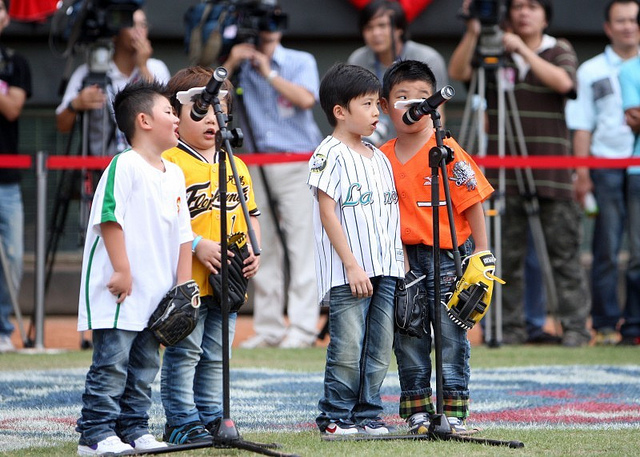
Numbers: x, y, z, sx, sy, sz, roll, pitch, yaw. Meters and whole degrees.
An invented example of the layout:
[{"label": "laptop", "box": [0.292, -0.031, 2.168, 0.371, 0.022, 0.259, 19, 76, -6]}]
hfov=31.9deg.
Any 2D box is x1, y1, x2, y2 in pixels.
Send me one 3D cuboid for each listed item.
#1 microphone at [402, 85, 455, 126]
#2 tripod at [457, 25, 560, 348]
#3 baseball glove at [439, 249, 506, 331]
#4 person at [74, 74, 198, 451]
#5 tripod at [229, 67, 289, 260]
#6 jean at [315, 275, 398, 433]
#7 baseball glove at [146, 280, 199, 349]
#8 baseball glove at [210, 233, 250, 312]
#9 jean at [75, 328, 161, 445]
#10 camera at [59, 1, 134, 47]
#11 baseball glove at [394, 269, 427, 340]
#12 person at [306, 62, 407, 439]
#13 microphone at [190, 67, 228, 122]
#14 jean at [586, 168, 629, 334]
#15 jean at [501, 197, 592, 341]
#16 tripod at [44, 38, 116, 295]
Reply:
[{"label": "microphone", "box": [0.575, -0.651, 6.054, 0.110, 0.111, 0.432, -23, -6, -32]}, {"label": "tripod", "box": [1.299, -0.377, 7.897, 0.793, 2.110, 0.699, -11, -41, 17]}, {"label": "baseball glove", "box": [0.797, 0.314, 6.217, 0.340, 0.446, 0.179, 28, 4, -23]}, {"label": "person", "box": [-0.948, 0.164, 5.902, 0.619, 1.963, 0.343, 2, -8, -11]}, {"label": "tripod", "box": [-0.408, -0.439, 7.833, 0.175, 1.590, 0.188, -23, -20, 3]}, {"label": "jean", "box": [0.206, 0.689, 6.153, 0.447, 0.851, 0.254, 0, -8, -1]}, {"label": "baseball glove", "box": [-0.774, 0.446, 5.867, 0.317, 0.120, 0.230, -11, 27, -27]}, {"label": "baseball glove", "box": [-0.499, 0.230, 6.027, 0.195, 0.426, 0.395, -2, -8, 12]}, {"label": "jean", "box": [-1.042, 0.817, 5.829, 0.415, 0.596, 0.198, 3, -8, -21]}, {"label": "camera", "box": [-1.637, -1.549, 8.406, 0.497, 0.353, 0.377, -4, -5, 38]}, {"label": "baseball glove", "box": [0.502, 0.409, 6.203, 0.175, 0.368, 0.120, 0, -8, 2]}, {"label": "person", "box": [0.214, 0.094, 6.203, 0.528, 2.064, 0.272, 0, -8, 3]}, {"label": "microphone", "box": [-0.589, -0.684, 5.862, 0.106, 0.098, 0.412, -13, -25, -30]}, {"label": "jean", "box": [1.943, 0.130, 7.534, 0.285, 1.136, 0.267, -2, -8, 15]}, {"label": "jean", "box": [1.620, 0.270, 8.043, 0.425, 1.065, 1.237, 1, -8, -6]}, {"label": "tripod", "box": [-1.730, -0.494, 8.219, 0.456, 1.896, 1.082, 3, -8, -18]}]
